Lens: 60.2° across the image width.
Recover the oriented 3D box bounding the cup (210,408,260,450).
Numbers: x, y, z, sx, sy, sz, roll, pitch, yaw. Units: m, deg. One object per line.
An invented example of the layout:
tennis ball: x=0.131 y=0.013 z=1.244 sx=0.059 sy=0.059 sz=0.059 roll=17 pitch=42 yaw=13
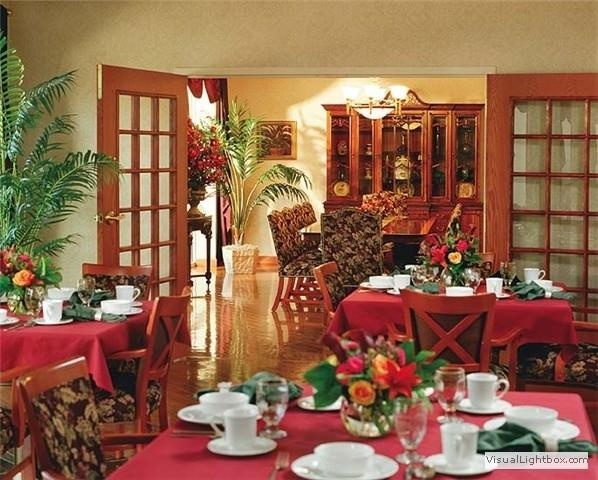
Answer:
cup: x=-0.146 y=0.448 z=1.266 sx=0.079 sy=0.082 sz=0.116 roll=-3 pitch=-1 yaw=-44

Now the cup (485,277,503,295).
cup: x=1.201 y=0.283 z=3.181 sx=0.109 sy=0.106 sz=0.098 roll=-3 pitch=5 yaw=-19

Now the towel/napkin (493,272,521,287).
towel/napkin: x=1.439 y=0.272 z=3.600 sx=0.176 sy=0.135 sz=0.182 roll=-1 pitch=-3 yaw=0

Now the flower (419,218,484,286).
flower: x=0.982 y=0.082 z=3.486 sx=0.442 sy=0.419 sz=0.387 roll=-3 pitch=0 yaw=-2

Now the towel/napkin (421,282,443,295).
towel/napkin: x=0.849 y=0.303 z=3.332 sx=0.104 sy=0.038 sz=0.110 roll=1 pitch=7 yaw=5

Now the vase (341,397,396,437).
vase: x=0.168 y=0.497 z=1.401 sx=0.135 sy=0.078 sz=0.118 roll=13 pitch=1 yaw=-20

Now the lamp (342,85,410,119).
lamp: x=1.231 y=-2.165 z=8.015 sx=0.933 sy=0.442 sz=1.107 roll=-1 pitch=3 yaw=-4

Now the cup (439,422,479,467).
cup: x=0.345 y=0.443 z=1.121 sx=0.070 sy=0.068 sz=0.103 roll=0 pitch=12 yaw=11

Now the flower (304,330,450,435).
flower: x=0.232 y=0.316 z=1.356 sx=0.308 sy=0.212 sz=0.302 roll=-1 pitch=4 yaw=-40

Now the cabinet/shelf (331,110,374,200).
cabinet/shelf: x=0.964 y=-1.604 z=9.635 sx=0.871 sy=1.787 sz=0.282 roll=1 pitch=6 yaw=1

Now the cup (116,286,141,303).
cup: x=-1.025 y=0.317 z=3.138 sx=0.185 sy=0.124 sz=0.117 roll=2 pitch=-4 yaw=-24

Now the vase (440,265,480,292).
vase: x=1.015 y=0.259 z=3.277 sx=0.187 sy=0.150 sz=0.215 roll=4 pitch=7 yaw=38

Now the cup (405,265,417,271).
cup: x=0.789 y=0.195 z=3.654 sx=0.067 sy=0.059 sz=0.081 roll=0 pitch=-1 yaw=-15

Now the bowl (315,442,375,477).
bowl: x=0.101 y=0.485 z=1.181 sx=0.134 sy=0.050 sz=0.135 roll=1 pitch=6 yaw=0

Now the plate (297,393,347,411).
plate: x=0.049 y=0.510 z=1.597 sx=0.106 sy=0.015 sz=0.108 roll=4 pitch=6 yaw=44

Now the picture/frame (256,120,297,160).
picture/frame: x=-0.415 y=-1.988 z=10.199 sx=0.868 sy=0.820 sz=0.055 roll=0 pitch=0 yaw=0

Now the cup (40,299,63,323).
cup: x=-1.310 y=0.378 z=2.730 sx=0.103 sy=0.114 sz=0.129 roll=0 pitch=-1 yaw=-29

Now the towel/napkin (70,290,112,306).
towel/napkin: x=-1.201 y=0.331 z=3.039 sx=0.150 sy=0.052 sz=0.111 roll=-2 pitch=-1 yaw=28

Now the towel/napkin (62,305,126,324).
towel/napkin: x=-1.122 y=0.404 z=2.814 sx=0.202 sy=0.053 sz=0.150 roll=1 pitch=-2 yaw=0

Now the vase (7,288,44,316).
vase: x=-1.483 y=0.314 z=2.775 sx=0.164 sy=0.140 sz=0.178 roll=0 pitch=6 yaw=-7

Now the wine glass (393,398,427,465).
wine glass: x=0.267 y=0.437 z=1.221 sx=0.076 sy=0.178 sz=0.180 roll=2 pitch=6 yaw=14

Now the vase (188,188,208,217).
vase: x=-1.470 y=-0.536 z=7.452 sx=0.367 sy=0.386 sz=0.367 roll=0 pitch=1 yaw=-3

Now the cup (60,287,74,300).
cup: x=-1.405 y=0.326 z=3.126 sx=0.066 sy=0.048 sz=0.066 roll=1 pitch=8 yaw=0

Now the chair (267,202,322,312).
chair: x=-0.053 y=0.265 z=7.262 sx=0.623 sy=1.042 sz=1.591 roll=-1 pitch=8 yaw=5

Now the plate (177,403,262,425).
plate: x=-0.205 y=0.462 z=1.368 sx=0.136 sy=0.014 sz=0.133 roll=2 pitch=-1 yaw=-43

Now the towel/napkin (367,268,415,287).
towel/napkin: x=0.691 y=0.281 z=3.968 sx=0.250 sy=0.111 sz=0.275 roll=-2 pitch=-8 yaw=-3

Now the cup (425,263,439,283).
cup: x=0.871 y=0.215 z=3.380 sx=0.094 sy=0.104 sz=0.095 roll=-1 pitch=10 yaw=0

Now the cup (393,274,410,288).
cup: x=0.682 y=0.269 z=3.421 sx=0.091 sy=0.075 sz=0.093 roll=-1 pitch=-5 yaw=0
